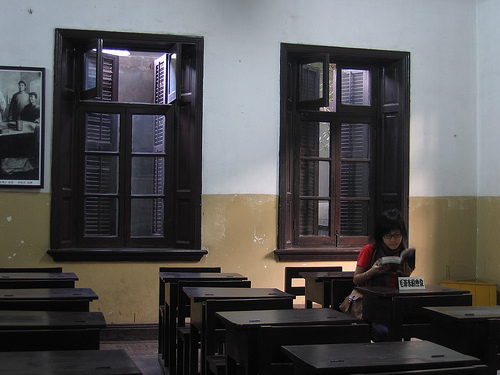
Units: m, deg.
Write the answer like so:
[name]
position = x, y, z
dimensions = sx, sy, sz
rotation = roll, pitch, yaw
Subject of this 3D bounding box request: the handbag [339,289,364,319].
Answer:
[handbag]
position = 0.853, 0.979, 5.591
dimensions = 0.129, 0.235, 0.240
rotation = 24, -10, -16

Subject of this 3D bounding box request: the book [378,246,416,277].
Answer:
[book]
position = 1.227, 0.619, 5.597
dimensions = 0.308, 0.235, 0.143
rotation = 1, 1, 11

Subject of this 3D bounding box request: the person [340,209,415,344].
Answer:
[person]
position = 1.103, 0.837, 5.711
dimensions = 0.606, 1.266, 0.751
rotation = 0, 6, 8
